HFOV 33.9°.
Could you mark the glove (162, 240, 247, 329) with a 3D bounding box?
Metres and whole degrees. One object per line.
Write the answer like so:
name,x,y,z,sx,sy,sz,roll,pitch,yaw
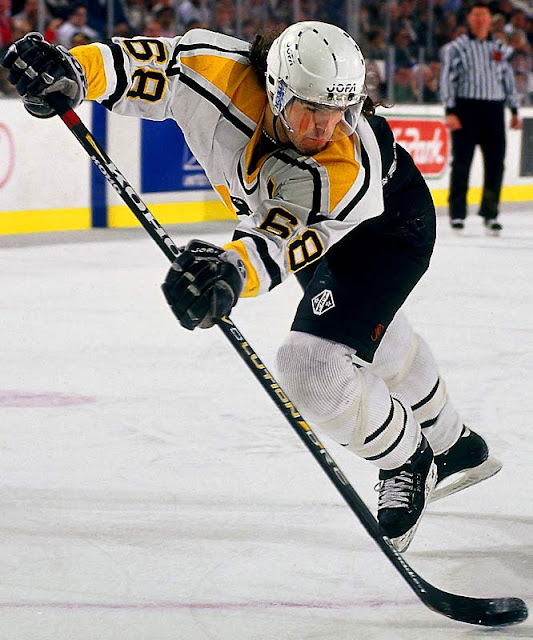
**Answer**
glove,-0.091,-0.058,1.621,0.140,0.076,0.170,35,67,17
